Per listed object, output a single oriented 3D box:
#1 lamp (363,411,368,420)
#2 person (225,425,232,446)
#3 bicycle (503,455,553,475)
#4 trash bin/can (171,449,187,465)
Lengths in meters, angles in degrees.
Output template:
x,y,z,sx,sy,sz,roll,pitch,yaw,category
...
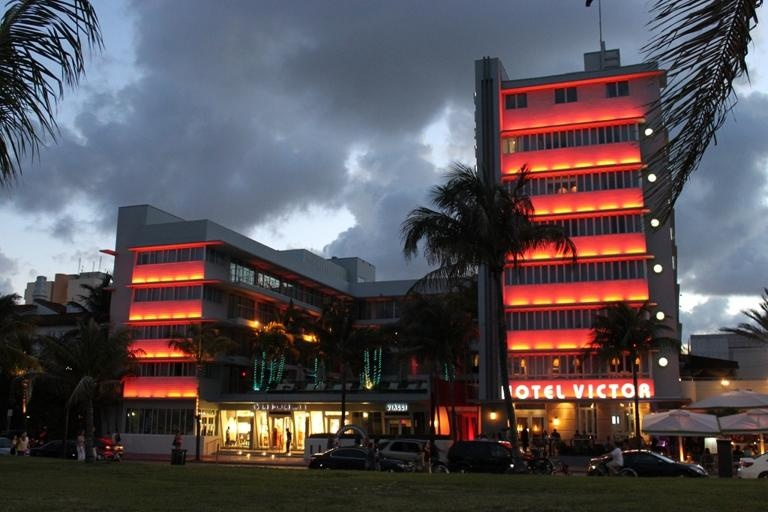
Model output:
x,y,z,sx,sy,sz,roll,pitch,yaw,category
-1.797,14.690,68.311,0.522,0.589,0.523,-2,-7,13,lamp
-15.757,18.059,74.336,0.580,1.833,0.357,-2,-19,-1,person
7.566,10.910,38.431,2.166,0.848,1.433,-1,-8,-2,bicycle
-11.950,11.568,42.961,0.756,0.930,1.176,4,-20,-17,trash bin/can
